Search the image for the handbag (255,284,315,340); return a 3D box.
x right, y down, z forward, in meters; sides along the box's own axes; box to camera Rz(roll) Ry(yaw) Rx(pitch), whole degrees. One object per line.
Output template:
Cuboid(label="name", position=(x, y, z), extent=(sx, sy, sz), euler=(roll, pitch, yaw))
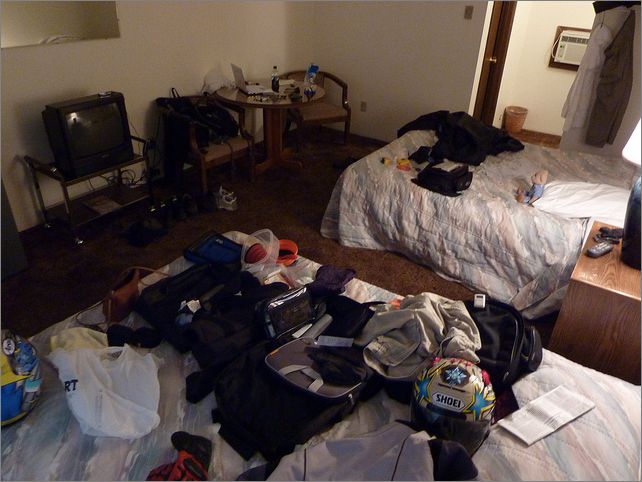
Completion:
Cuboid(label="handbag", position=(-0.180, 0.365, 2.300), extent=(0.200, 0.144, 0.069), euler=(-25, 14, -36))

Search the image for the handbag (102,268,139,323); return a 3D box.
Cuboid(label="handbag", position=(-1.057, 0.289, 2.500), extent=(0.097, 0.148, 0.324), euler=(15, 36, -9))

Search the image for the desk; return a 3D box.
Cuboid(label="desk", position=(-0.542, -1.180, 4.696), extent=(0.964, 0.749, 1.026), euler=(18, 39, 23))

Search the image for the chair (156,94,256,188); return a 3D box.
Cuboid(label="chair", position=(-1.111, -0.976, 4.479), extent=(0.657, 0.841, 0.762), euler=(15, 30, 28))

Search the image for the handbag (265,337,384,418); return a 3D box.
Cuboid(label="handbag", position=(-0.006, 0.575, 2.070), extent=(0.297, 0.115, 0.309), euler=(19, 29, 31))

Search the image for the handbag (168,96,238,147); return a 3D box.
Cuboid(label="handbag", position=(-1.103, -1.261, 4.378), extent=(0.476, 0.198, 0.480), euler=(34, 35, 20))

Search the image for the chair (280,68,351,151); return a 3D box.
Cuboid(label="chair", position=(-0.087, -1.585, 5.466), extent=(0.669, 0.807, 0.740), euler=(-8, 22, -17))

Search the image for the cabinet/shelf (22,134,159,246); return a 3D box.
Cuboid(label="cabinet/shelf", position=(-1.944, -0.398, 3.770), extent=(0.394, 0.556, 0.680), euler=(27, 41, 30))

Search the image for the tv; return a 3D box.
Cuboid(label="tv", position=(-1.866, -0.840, 3.586), extent=(0.281, 0.481, 0.505), euler=(18, 35, 30))

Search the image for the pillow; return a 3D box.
Cuboid(label="pillow", position=(1.826, -0.272, 3.172), extent=(0.431, 0.117, 0.423), euler=(17, 41, 28))

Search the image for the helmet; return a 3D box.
Cuboid(label="helmet", position=(0.532, 0.631, 1.940), extent=(0.283, 0.322, 0.370), euler=(19, 37, 16))
